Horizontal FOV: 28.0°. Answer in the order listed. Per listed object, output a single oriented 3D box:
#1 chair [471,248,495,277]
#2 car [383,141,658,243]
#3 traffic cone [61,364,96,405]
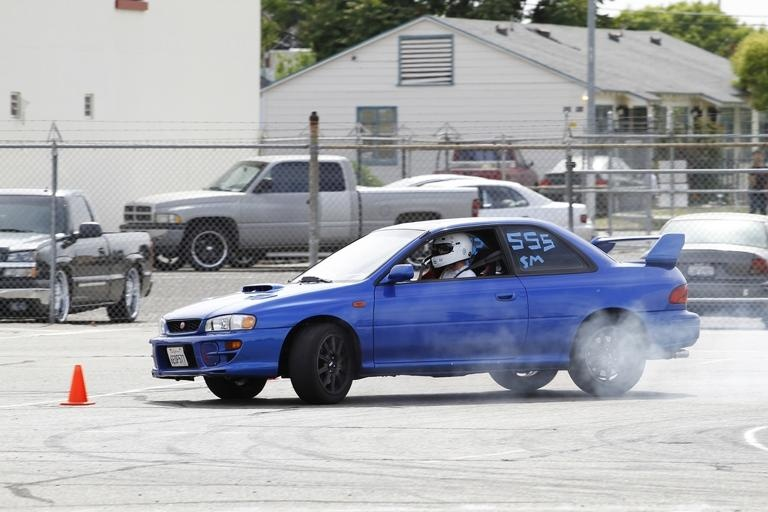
[{"bbox_3d":[1.371,0.093,21.007,0.329,0.332,0.381,11,-15,-43],"label":"chair"},{"bbox_3d":[3.154,-1.275,33.647,5.241,1.578,2.056,-2,6,-3],"label":"car"},{"bbox_3d":[-4.094,1.705,20.408,0.399,0.538,0.464,-6,13,-10],"label":"traffic cone"}]
